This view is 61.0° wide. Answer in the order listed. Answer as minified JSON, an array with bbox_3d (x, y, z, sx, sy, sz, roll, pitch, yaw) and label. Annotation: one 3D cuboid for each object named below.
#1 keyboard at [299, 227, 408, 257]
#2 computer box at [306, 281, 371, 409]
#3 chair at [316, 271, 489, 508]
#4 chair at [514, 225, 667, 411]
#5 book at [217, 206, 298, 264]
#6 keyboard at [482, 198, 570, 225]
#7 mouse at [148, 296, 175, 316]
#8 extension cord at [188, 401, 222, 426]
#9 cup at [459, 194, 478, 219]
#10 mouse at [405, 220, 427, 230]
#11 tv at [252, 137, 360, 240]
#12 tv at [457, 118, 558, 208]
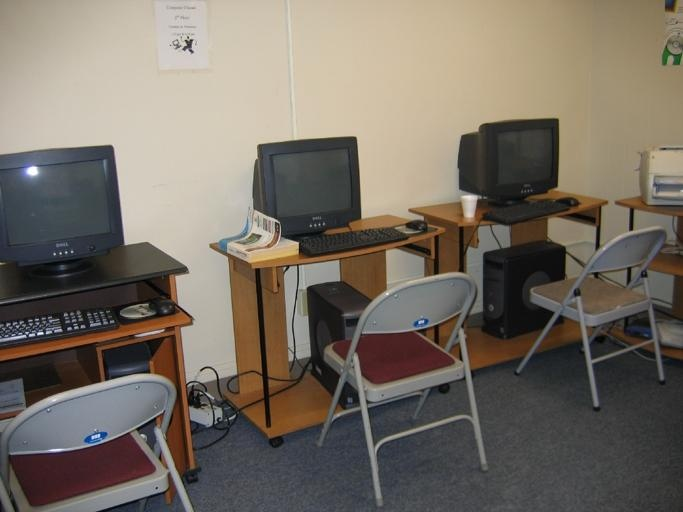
[{"bbox_3d":[0.064,-0.080,3.048,0.598,0.052,0.202,-10,20,-23],"label":"keyboard"},{"bbox_3d":[0.011,0.485,3.381,0.281,0.556,0.482,-7,18,-22],"label":"computer box"},{"bbox_3d":[0.278,0.700,2.827,0.634,1.092,0.735,-9,25,-21],"label":"chair"},{"bbox_3d":[1.472,0.263,3.313,0.768,0.965,0.552,-9,19,-21],"label":"chair"},{"bbox_3d":[-0.425,-0.112,2.978,0.290,0.190,0.382,-14,21,-33],"label":"book"},{"bbox_3d":[1.143,-0.273,3.537,0.607,0.056,0.286,-17,23,-38],"label":"keyboard"},{"bbox_3d":[-0.796,0.217,2.573,0.063,0.047,0.123,-6,13,-32],"label":"mouse"},{"bbox_3d":[-0.742,0.817,3.166,0.182,0.091,0.101,6,8,40],"label":"extension cord"},{"bbox_3d":[0.796,-0.305,3.581,0.133,0.158,0.137,-1,7,0],"label":"cup"},{"bbox_3d":[0.422,-0.170,3.272,0.132,0.049,0.122,2,18,13],"label":"mouse"},{"bbox_3d":[-0.214,-0.436,3.402,0.710,0.686,0.505,-7,15,-26],"label":"tv"},{"bbox_3d":[1.105,-0.660,3.959,0.727,0.679,0.514,-9,16,-25],"label":"tv"}]
